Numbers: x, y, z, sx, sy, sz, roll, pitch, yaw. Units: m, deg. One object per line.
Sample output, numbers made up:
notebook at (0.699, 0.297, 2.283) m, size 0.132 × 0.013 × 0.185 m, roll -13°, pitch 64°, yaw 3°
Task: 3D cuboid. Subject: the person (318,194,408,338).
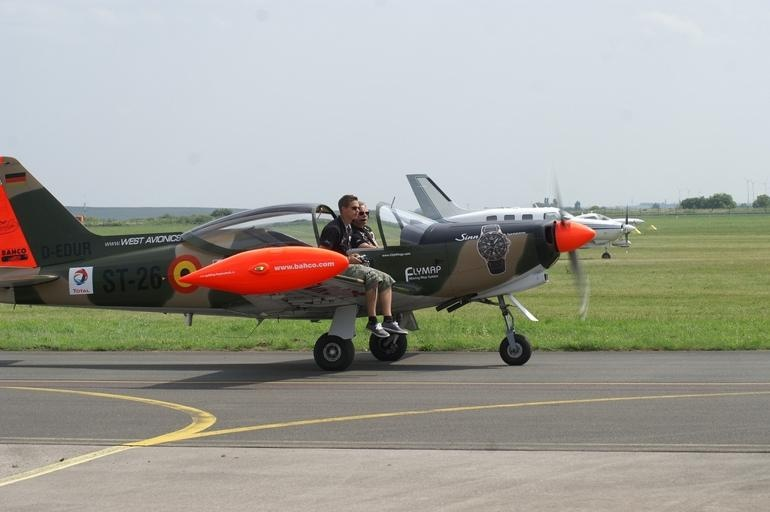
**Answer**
person at (-0.358, 0.135, 12.985) m, size 1.208 × 2.215 × 0.894 m, roll -4°, pitch -2°, yaw -2°
